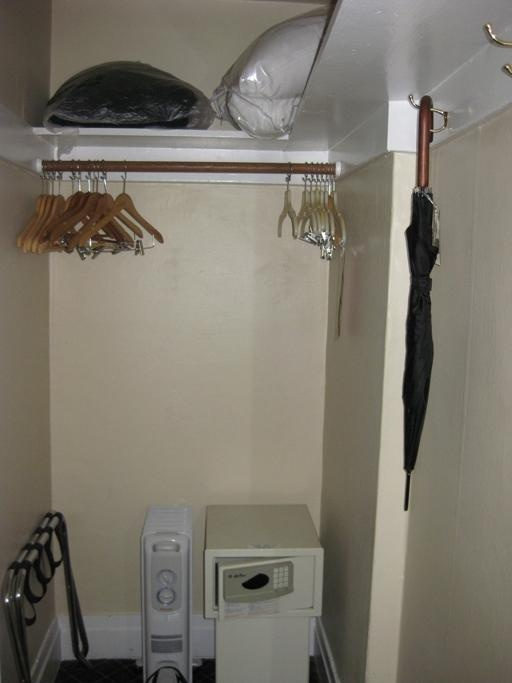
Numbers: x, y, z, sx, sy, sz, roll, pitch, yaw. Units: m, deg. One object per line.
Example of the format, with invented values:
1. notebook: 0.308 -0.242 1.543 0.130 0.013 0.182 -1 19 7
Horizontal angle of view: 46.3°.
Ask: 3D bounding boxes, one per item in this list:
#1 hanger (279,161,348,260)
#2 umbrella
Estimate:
1. hanger: 0.174 -0.394 1.813 0.149 0.287 0.117 1 -16 14
2. umbrella: 0.383 -0.078 1.349 0.090 0.936 0.179 0 2 16
